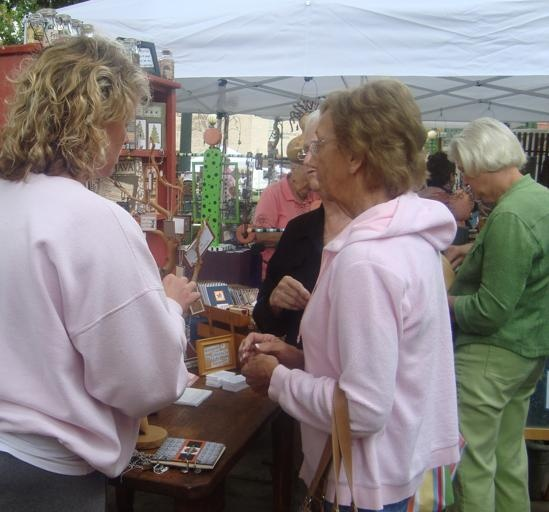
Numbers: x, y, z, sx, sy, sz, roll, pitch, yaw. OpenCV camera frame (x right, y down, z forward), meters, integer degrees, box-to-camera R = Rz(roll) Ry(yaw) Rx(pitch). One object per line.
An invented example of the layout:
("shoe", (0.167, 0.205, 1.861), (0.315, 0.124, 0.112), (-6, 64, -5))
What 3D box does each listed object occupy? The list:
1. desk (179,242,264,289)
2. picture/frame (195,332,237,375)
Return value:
("desk", (-0.351, 0.067, 3.569), (0.377, 0.224, 0.361), (0, 0, -2))
("picture/frame", (-0.258, 0.446, 2.390), (0.014, 0.135, 0.169), (-10, -6, 44))
